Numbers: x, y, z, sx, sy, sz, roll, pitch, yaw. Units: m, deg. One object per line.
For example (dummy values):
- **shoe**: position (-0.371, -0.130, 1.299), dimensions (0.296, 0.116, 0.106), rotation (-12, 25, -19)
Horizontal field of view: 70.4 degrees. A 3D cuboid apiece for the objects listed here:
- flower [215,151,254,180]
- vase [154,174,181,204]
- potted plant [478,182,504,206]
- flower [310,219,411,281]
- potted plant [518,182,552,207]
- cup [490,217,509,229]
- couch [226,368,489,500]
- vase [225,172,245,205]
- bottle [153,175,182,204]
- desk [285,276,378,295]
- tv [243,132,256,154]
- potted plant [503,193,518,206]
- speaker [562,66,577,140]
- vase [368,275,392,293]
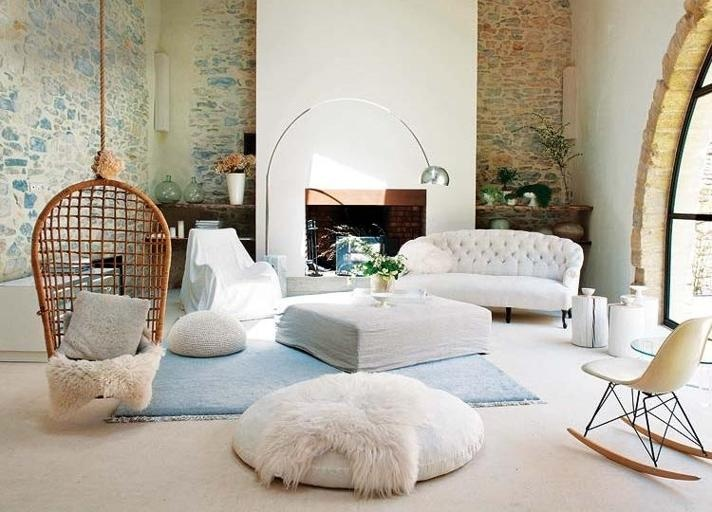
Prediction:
- **flower**: position (-2.011, -1.510, 8.454), dimensions (0.475, 0.297, 0.484), rotation (0, -1, 40)
- **vase**: position (-3.154, -1.121, 8.661), dimensions (0.461, 0.494, 0.457), rotation (0, -2, -3)
- **potted plant**: position (2.290, -1.041, 8.472), dimensions (0.406, 0.385, 0.408), rotation (1, 0, -4)
- **flower**: position (-0.080, -0.091, 8.581), dimensions (1.469, 1.116, 0.940), rotation (1, -7, -33)
- **potted plant**: position (2.942, -1.036, 8.335), dimensions (0.445, 0.242, 0.441), rotation (-2, 22, -4)
- **cup**: position (2.331, -0.528, 8.201), dimensions (0.205, 0.205, 0.205), rotation (1, 5, 0)
- **couch**: position (0.026, 1.117, 3.235), dimensions (1.614, 0.448, 0.762), rotation (-2, 13, -11)
- **vase**: position (-1.984, -1.135, 8.571), dimensions (0.379, 0.540, 0.380), rotation (7, 9, -6)
- **bottle**: position (-3.133, -1.124, 8.640), dimensions (0.462, 0.494, 0.469), rotation (0, -2, 3)
- **desk**: position (-0.501, 0.425, 7.782), dimensions (1.823, 0.254, 0.408), rotation (-1, 14, -9)
- **tv**: position (-1.888, -1.984, 8.861), dimensions (0.207, 0.372, 0.176), rotation (-1, 14, -5)
- **potted plant**: position (2.527, -0.922, 8.257), dimensions (0.194, 0.201, 0.151), rotation (8, 15, 31)
- **speaker**: position (3.633, -2.584, 8.530), dimensions (0.213, 1.172, 0.356), rotation (1, 14, 4)
- **vase**: position (0.249, 0.300, 5.336), dimensions (0.186, 0.139, 0.184), rotation (3, -3, -25)
